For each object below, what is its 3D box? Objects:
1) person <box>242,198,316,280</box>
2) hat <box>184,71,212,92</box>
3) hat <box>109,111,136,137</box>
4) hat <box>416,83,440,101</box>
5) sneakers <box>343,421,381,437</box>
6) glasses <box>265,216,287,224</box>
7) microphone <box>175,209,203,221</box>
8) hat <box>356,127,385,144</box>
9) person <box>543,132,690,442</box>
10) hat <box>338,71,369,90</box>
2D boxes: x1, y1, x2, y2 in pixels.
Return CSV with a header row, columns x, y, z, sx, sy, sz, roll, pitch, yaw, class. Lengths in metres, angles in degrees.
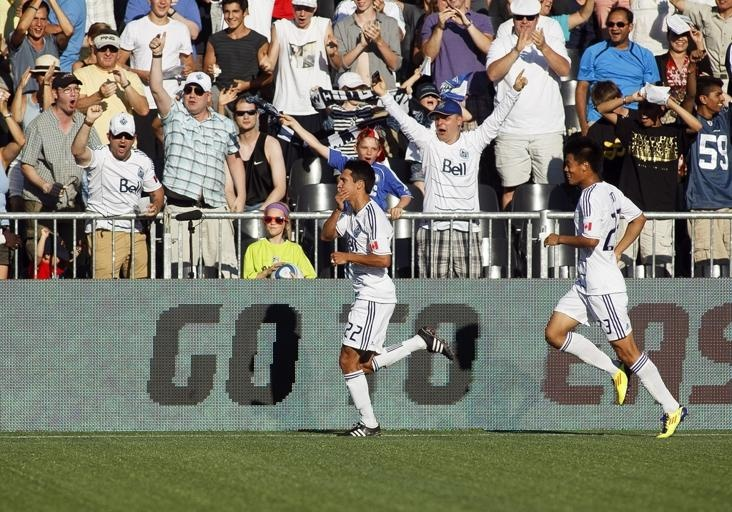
x,y,z,sx,sy,sz,roll,pitch,yaw,class
-0.996,-0.146,17.221,0.807,1.337,0.419,1,1,-1,person
-1.927,-2.033,17.857,0.295,0.235,0.499,5,0,-4,hat
-2.822,-1.534,17.500,0.206,0.183,0.324,3,27,-21,hat
0.694,-2.034,18.736,0.261,0.213,0.447,-2,3,-9,hat
-0.041,1.869,16.259,0.398,0.181,0.143,2,-3,2,sneakers
-1.011,-0.403,16.967,0.248,0.106,0.152,-3,8,-5,glasses
-1.969,-0.435,16.876,0.227,0.061,0.130,-4,-11,8,microphone
0.038,-1.434,17.687,0.236,0.195,0.248,2,5,29,hat
2.549,0.385,16.006,1.319,3.260,0.706,-2,6,2,person
-0.176,-2.184,18.833,0.262,0.170,0.385,-1,7,-13,hat
